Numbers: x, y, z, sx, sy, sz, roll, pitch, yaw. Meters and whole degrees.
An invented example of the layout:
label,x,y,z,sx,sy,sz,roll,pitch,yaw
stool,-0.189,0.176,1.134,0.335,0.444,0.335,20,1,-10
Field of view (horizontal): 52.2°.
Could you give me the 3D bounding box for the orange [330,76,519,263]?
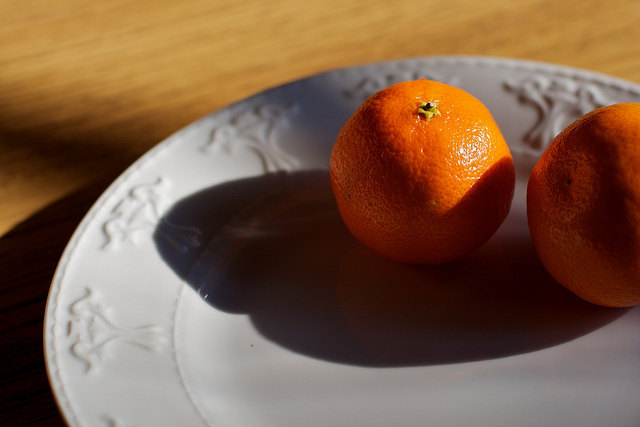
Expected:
label,x,y,z,sx,sy,sz,roll,pitch,yaw
orange,0.192,-0.141,1.408,0.404,0.311,0.450,5,43,4
